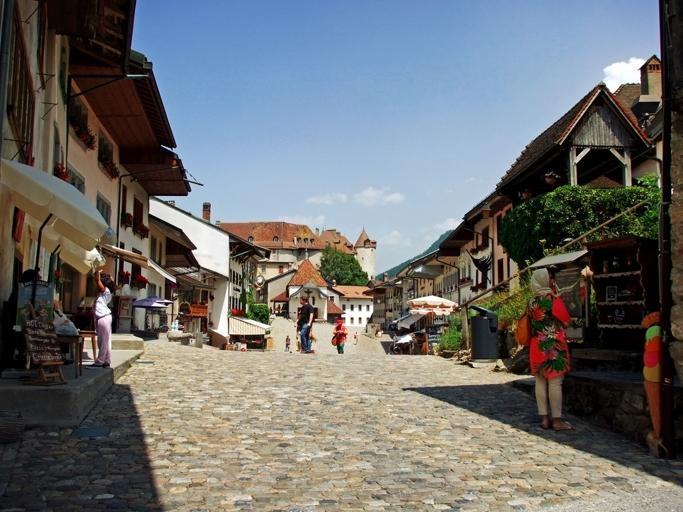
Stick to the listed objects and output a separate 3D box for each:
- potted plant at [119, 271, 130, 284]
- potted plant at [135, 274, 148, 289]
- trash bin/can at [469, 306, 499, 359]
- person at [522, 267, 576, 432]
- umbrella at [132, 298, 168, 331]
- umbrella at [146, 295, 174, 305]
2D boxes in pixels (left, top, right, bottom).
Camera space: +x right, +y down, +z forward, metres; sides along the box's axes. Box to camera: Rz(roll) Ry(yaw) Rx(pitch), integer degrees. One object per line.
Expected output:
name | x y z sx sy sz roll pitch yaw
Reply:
potted plant | -9.412 0.942 25.161 0.518 0.518 0.413 2 -6 -21
potted plant | -9.579 1.211 27.436 0.603 0.606 0.648 0 -2 -1
trash bin/can | 3.238 1.743 13.086 0.561 1.192 0.866 1 -4 11
person | 3.083 1.354 8.642 0.646 2.363 0.423 -1 -5 39
umbrella | -9.504 3.075 29.674 1.968 1.335 1.994 -1 -4 12
umbrella | -8.748 2.154 27.317 1.005 0.306 0.878 0 -2 15
